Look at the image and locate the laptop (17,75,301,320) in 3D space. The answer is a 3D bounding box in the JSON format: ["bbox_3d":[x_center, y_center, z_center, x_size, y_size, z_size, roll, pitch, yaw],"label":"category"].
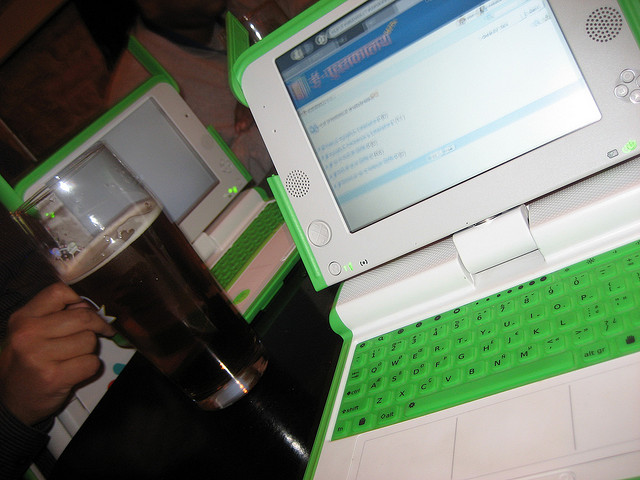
[{"bbox_3d":[-0.335,-0.011,1.293,0.599,0.539,0.410,-40,-17,-28],"label":"laptop"}]
